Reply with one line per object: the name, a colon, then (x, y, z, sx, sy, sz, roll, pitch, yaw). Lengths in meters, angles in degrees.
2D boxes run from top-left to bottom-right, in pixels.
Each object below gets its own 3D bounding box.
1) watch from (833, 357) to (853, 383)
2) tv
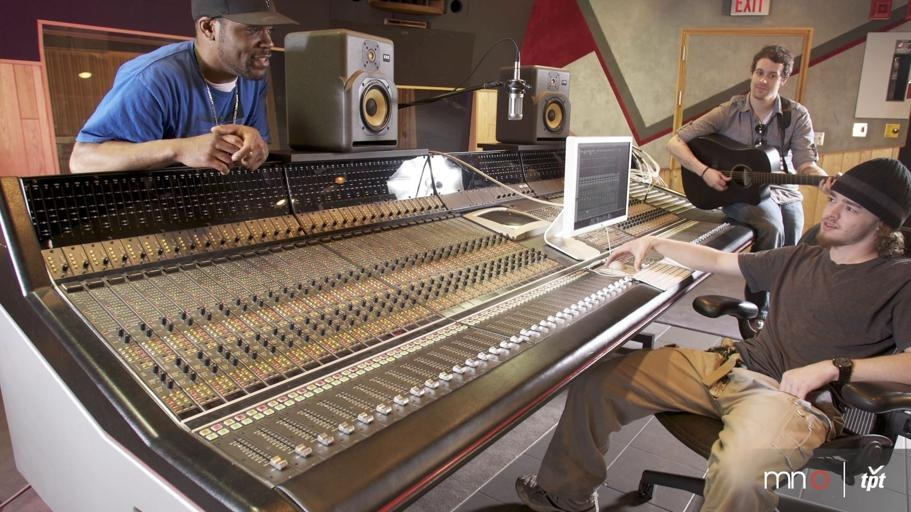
watch: (1.888, 0.562, 2.665, 0.085, 0.107, 0.086, 9, 22, 35)
tv: (0.839, -0.328, 3.388, 0.397, 0.735, 0.815, 15, 24, 42)
